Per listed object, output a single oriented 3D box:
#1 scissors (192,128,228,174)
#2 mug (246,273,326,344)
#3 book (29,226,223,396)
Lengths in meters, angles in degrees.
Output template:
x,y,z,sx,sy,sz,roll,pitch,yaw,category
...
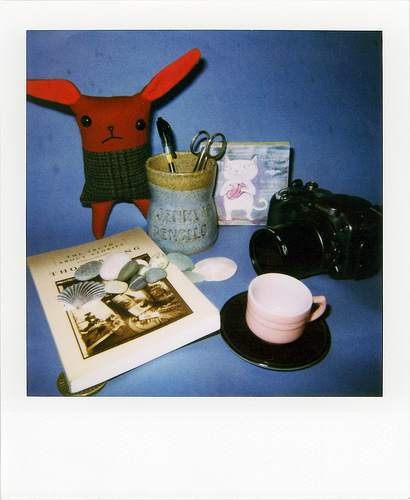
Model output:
x,y,z,sx,sy,sz,roll,pitch,yaw,category
0.003,-0.147,0.639,0.042,0.013,0.067,12,-13,-16,scissors
0.072,0.062,0.508,0.093,0.039,0.061,-1,37,-14,mug
-0.102,0.057,0.555,0.166,0.028,0.213,-18,36,-15,book
